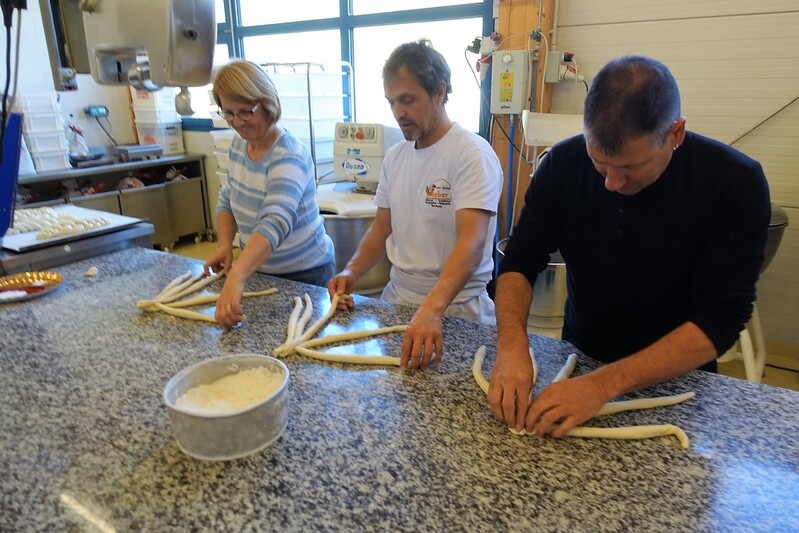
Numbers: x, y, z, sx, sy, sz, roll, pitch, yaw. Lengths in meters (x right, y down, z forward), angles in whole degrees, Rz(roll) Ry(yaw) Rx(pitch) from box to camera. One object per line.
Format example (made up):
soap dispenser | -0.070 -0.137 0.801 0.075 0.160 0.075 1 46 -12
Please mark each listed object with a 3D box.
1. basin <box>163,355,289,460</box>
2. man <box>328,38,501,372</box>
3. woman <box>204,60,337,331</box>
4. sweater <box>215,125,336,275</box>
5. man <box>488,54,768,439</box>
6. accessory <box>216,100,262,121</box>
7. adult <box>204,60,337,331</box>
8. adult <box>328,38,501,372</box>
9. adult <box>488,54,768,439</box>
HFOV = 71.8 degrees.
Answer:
basin | -0.492 0.399 1.585 0.338 0.191 0.255 -9 21 -24
man | 0.052 -0.268 2.083 0.606 1.121 0.841 5 20 14
woman | -0.584 -0.315 2.301 0.558 1.039 0.852 -1 19 -5
sweater | -0.560 -0.339 2.572 0.651 0.634 0.548 21 31 34
man | 0.728 -0.086 1.720 0.819 1.080 0.793 4 20 10
accessory | -0.686 -0.649 2.292 0.198 0.080 0.090 8 21 21
adult | -0.584 -0.315 2.300 0.558 1.039 0.856 -1 19 -5
adult | 0.052 -0.268 2.085 0.606 1.121 0.838 5 20 14
adult | 0.651 -0.117 1.805 0.920 1.080 0.704 -6 20 -19
